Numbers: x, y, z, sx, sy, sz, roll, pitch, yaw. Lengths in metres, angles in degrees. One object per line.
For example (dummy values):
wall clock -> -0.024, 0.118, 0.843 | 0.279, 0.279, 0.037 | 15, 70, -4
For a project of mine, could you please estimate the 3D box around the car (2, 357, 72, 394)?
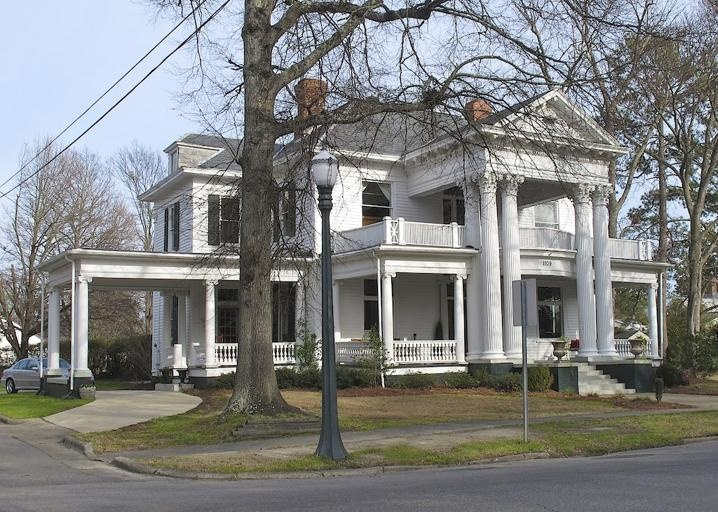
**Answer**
car -> -13.822, 5.034, 41.474 | 1.869, 1.553, 6.554 | 4, -10, -31

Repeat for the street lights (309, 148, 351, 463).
street lights -> -0.772, 1.105, 24.099 | 0.703, 7.816, 0.726 | -1, -8, -1
